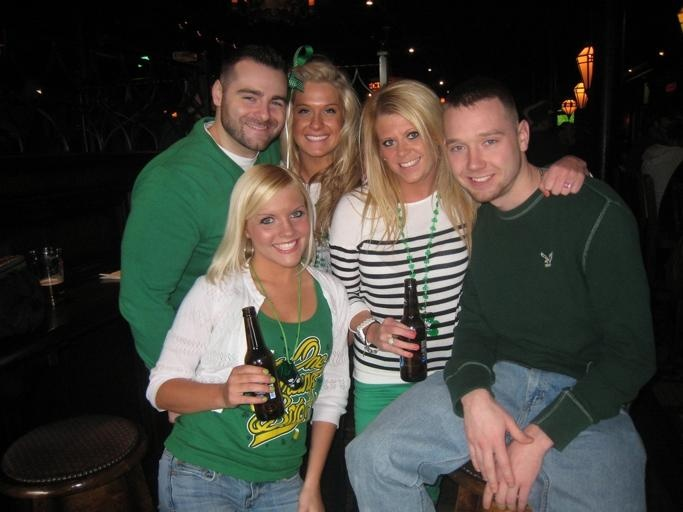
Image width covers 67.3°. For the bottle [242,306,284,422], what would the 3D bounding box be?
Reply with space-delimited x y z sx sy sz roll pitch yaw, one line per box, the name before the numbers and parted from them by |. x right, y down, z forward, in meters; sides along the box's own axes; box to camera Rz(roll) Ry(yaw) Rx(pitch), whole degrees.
bottle | -0.356 0.509 2.347 0.157 0.588 0.313 -6 15 -11

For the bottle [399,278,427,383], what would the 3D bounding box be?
bottle | 0.381 0.400 2.725 0.140 0.608 0.252 -1 15 9
